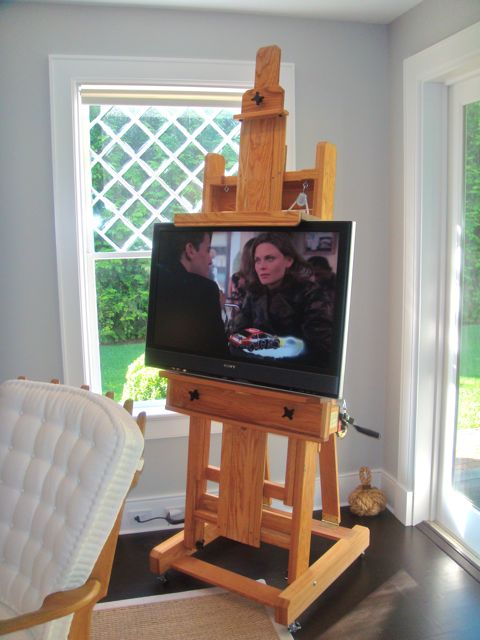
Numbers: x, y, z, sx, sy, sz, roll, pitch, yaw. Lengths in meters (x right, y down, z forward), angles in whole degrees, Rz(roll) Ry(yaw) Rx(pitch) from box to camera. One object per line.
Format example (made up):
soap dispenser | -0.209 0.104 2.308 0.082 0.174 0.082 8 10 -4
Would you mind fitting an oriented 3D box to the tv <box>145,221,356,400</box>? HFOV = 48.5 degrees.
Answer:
tv | 0.035 -0.046 1.917 0.627 0.474 0.055 10 9 32
